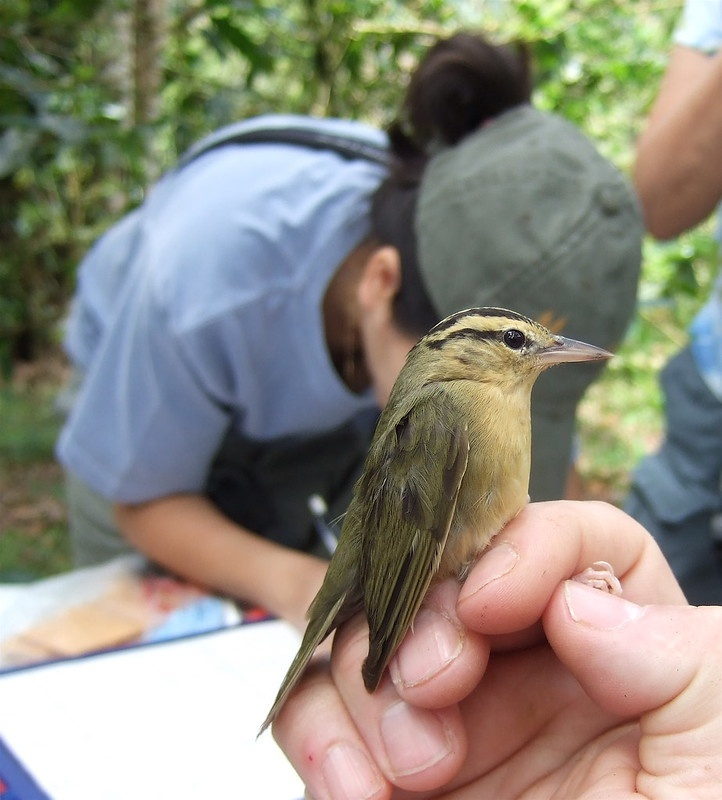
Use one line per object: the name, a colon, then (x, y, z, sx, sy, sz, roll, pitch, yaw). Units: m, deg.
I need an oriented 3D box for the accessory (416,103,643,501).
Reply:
accessory: (0.294, -0.161, 1.694, 0.509, 0.650, 0.401, -2, 0, -22)

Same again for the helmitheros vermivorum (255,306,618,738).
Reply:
helmitheros vermivorum: (0.082, 0.126, 1.231, 0.634, 0.471, 0.261, -9, -1, -9)
